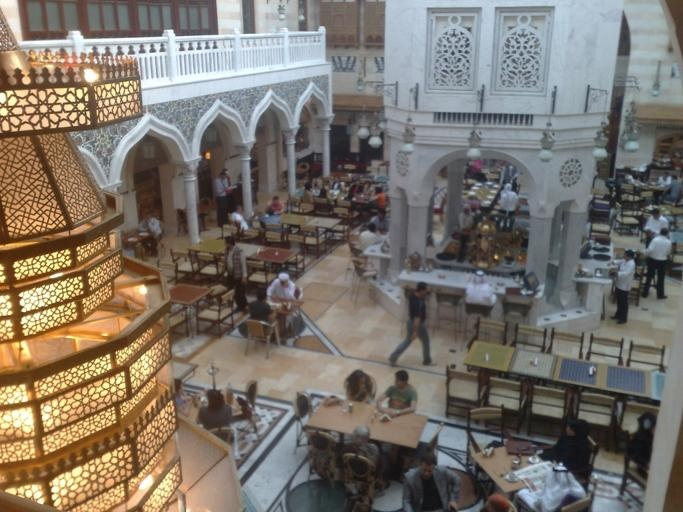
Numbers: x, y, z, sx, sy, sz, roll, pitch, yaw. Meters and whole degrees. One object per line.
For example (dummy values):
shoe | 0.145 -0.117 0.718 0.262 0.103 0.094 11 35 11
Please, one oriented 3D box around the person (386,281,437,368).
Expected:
person | 1.464 1.396 11.004 0.660 1.812 0.736 4 6 28

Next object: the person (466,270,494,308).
person | 3.048 0.775 11.960 0.634 0.495 1.142 0 50 21

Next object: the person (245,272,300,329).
person | -1.447 0.932 11.870 0.952 0.955 1.318 2 5 5

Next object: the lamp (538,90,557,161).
lamp | 4.281 -2.672 11.103 0.300 1.384 0.300 12 16 41

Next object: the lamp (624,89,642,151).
lamp | 6.783 -3.031 12.589 0.422 1.137 0.418 6 19 35

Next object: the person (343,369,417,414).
person | 0.629 2.276 8.790 1.061 0.633 0.666 13 24 23

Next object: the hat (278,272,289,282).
hat | -1.328 0.533 12.202 0.194 0.215 0.226 2 28 -2

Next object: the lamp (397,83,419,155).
lamp | 1.572 -3.137 12.243 0.361 1.663 0.382 3 7 -9

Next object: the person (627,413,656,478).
person | 4.309 2.724 7.740 0.303 0.902 0.438 4 6 33

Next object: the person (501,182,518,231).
person | 5.560 -1.626 17.814 0.618 1.555 0.487 5 30 20

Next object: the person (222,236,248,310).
person | -2.540 0.476 12.974 0.530 1.893 0.590 0 5 -12

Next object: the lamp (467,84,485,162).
lamp | 2.982 -2.974 11.860 0.321 1.694 1.328 2 5 14

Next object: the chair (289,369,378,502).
chair | -0.132 2.874 8.351 1.018 1.751 1.203 14 17 28

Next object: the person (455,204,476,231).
person | 3.436 -0.995 14.735 0.414 0.638 0.894 3 5 16
